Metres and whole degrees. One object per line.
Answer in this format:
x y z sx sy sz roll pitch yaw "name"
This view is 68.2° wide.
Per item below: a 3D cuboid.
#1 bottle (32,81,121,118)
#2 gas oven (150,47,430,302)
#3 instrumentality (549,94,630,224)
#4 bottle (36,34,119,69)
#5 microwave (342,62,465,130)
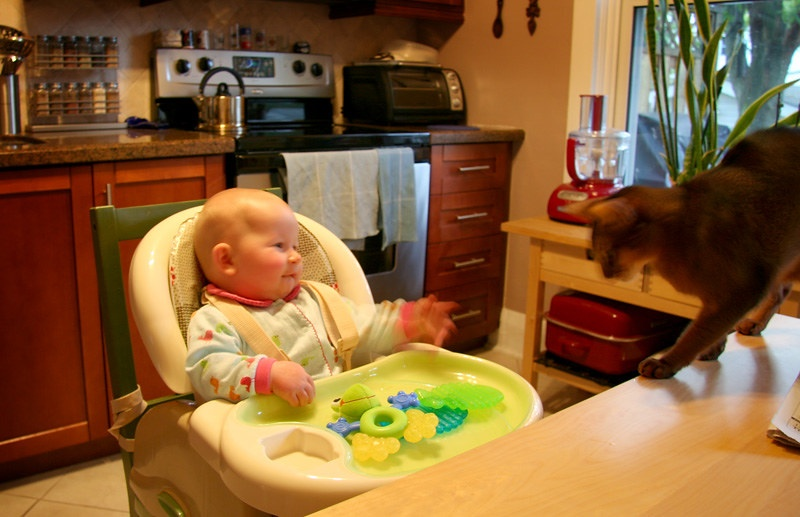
-1.320 -0.643 2.398 0.323 0.135 0.069 -9 17 -28 "bottle"
-0.557 -0.417 2.951 1.187 1.046 0.645 -8 15 -33 "gas oven"
0.799 -0.407 2.425 0.353 0.501 0.285 -15 22 -34 "instrumentality"
-1.353 -0.854 2.431 0.101 0.137 0.344 28 29 27 "bottle"
-0.012 -0.728 3.126 0.537 0.311 0.401 -6 11 -34 "microwave"
